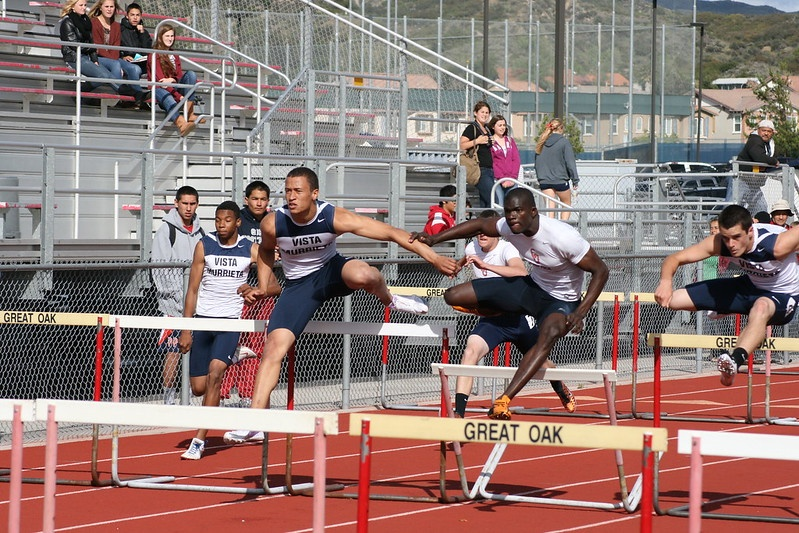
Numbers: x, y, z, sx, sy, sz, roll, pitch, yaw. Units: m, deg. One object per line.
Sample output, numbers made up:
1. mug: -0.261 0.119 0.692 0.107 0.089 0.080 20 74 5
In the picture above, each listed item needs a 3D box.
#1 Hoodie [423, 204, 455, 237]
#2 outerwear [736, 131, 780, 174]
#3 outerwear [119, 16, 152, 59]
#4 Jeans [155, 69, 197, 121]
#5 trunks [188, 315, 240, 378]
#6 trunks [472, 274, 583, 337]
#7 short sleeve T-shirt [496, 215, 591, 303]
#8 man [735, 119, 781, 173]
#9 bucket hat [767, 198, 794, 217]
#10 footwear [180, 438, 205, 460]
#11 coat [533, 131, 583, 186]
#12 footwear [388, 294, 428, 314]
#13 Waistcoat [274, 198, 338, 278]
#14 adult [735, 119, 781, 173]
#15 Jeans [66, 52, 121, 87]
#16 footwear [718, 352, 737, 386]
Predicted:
1. Hoodie: 0.584 -0.678 16.553 0.375 0.471 0.651 1 5 -29
2. outerwear: 6.924 -2.194 22.130 0.817 0.855 1.086 1 0 15
3. outerwear: -4.837 -4.208 20.994 0.462 0.707 0.749 -1 -15 5
4. Jeans: -3.920 -3.058 20.039 0.674 0.953 1.612 -1 4 -11
5. trunks: -2.318 1.005 13.964 0.450 0.583 0.316 -8 -1 19
6. trunks: 1.364 0.404 14.022 1.433 0.410 1.411 -8 -7 -2
7. short sleeve T-shirt: 1.712 -0.131 13.475 1.418 1.026 0.523 14 41 36
8. man: 6.908 -2.354 22.009 0.719 1.047 1.846 1 4 17
9. bucket hat: 6.508 -1.027 19.508 0.360 0.211 0.419 0 1 4
10. footwear: -2.495 2.204 13.720 0.152 0.173 0.405 9 1 10
11. coat: 2.880 -1.982 20.978 0.753 0.962 0.376 0 3 5
12. footwear: 0.086 0.455 13.000 0.386 0.151 0.216 5 42 -24
13. Waistcoat: -1.027 -0.281 12.996 0.697 0.890 0.523 -8 8 -3
14. adult: 6.908 -2.354 22.009 0.719 1.047 1.846 1 4 17
15. Jeans: -5.319 -3.407 19.830 0.856 0.482 0.227 25 -39 2
16. footwear: 3.852 1.205 13.478 0.186 0.484 0.217 5 28 33
